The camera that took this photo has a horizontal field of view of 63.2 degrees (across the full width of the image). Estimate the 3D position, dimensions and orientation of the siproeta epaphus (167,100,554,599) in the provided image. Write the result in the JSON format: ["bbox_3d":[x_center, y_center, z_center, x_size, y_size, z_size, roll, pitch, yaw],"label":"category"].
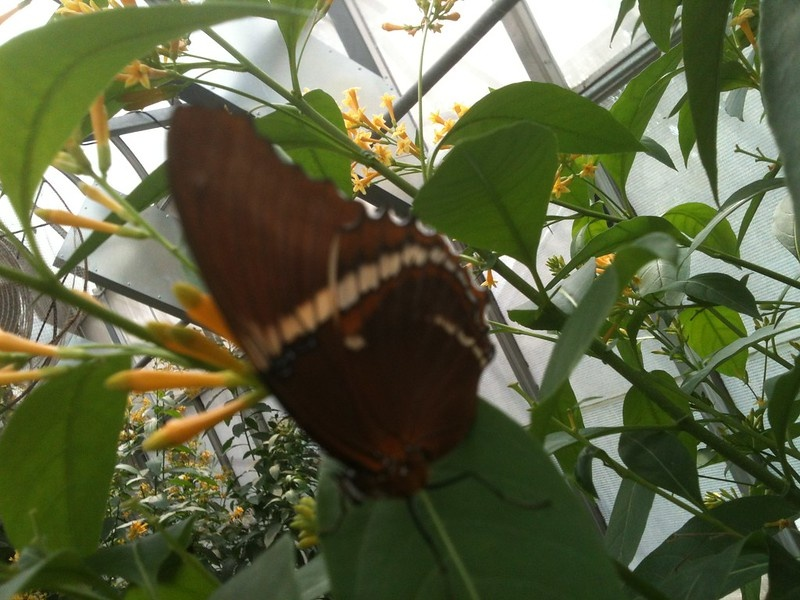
[{"bbox_3d":[-0.023,0.016,0.375,0.140,0.274,0.157,-33,-22,6],"label":"siproeta epaphus"}]
